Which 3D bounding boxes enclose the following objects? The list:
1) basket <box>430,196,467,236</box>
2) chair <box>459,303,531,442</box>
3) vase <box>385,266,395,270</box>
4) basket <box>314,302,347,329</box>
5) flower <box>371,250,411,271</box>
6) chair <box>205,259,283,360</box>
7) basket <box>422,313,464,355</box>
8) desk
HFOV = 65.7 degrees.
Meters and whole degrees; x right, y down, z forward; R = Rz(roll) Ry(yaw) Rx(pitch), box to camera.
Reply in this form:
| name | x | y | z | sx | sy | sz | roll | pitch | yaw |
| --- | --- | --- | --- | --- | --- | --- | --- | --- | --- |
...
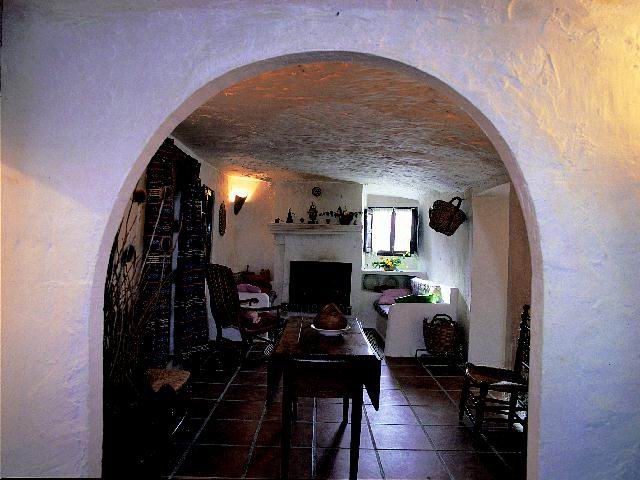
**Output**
| name | x | y | z | sx | sy | sz | roll | pitch | yaw |
| --- | --- | --- | --- | --- | --- | --- | --- | --- | --- |
| basket | 1.486 | -0.279 | 5.698 | 0.358 | 0.426 | 0.452 | 2 | -2 | -1 |
| chair | 1.400 | 1.017 | 4.023 | 0.525 | 1.034 | 1.234 | 2 | -2 | 21 |
| vase | 1.105 | 0.437 | 7.611 | 0.211 | 0.069 | 0.108 | 3 | -2 | -28 |
| basket | 0.082 | 0.577 | 3.777 | 0.190 | 0.171 | 0.192 | 2 | -10 | -6 |
| flower | 1.132 | 0.319 | 7.802 | 0.608 | 0.320 | 0.520 | 2 | -2 | 7 |
| chair | -0.776 | 0.776 | 5.332 | 0.809 | 0.990 | 0.654 | -2 | 5 | -35 |
| basket | 1.351 | 1.075 | 5.690 | 0.464 | 0.472 | 0.405 | 1 | -3 | -4 |
| desk | -0.013 | 1.115 | 3.524 | 0.714 | 0.923 | 0.925 | 3 | -2 | -5 |
